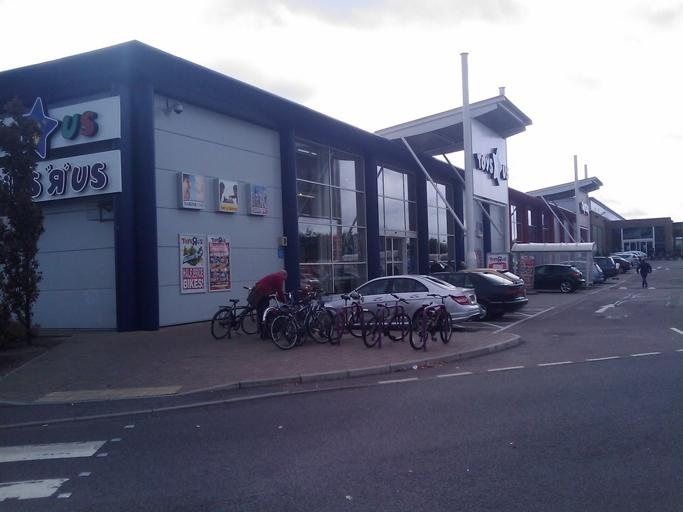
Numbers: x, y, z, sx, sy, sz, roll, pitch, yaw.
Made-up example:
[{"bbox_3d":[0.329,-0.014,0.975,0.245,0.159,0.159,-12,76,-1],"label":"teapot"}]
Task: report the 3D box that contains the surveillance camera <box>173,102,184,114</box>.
[{"bbox_3d":[-5.245,-4.747,17.882,0.296,0.290,0.549,-3,3,-18],"label":"surveillance camera"}]
